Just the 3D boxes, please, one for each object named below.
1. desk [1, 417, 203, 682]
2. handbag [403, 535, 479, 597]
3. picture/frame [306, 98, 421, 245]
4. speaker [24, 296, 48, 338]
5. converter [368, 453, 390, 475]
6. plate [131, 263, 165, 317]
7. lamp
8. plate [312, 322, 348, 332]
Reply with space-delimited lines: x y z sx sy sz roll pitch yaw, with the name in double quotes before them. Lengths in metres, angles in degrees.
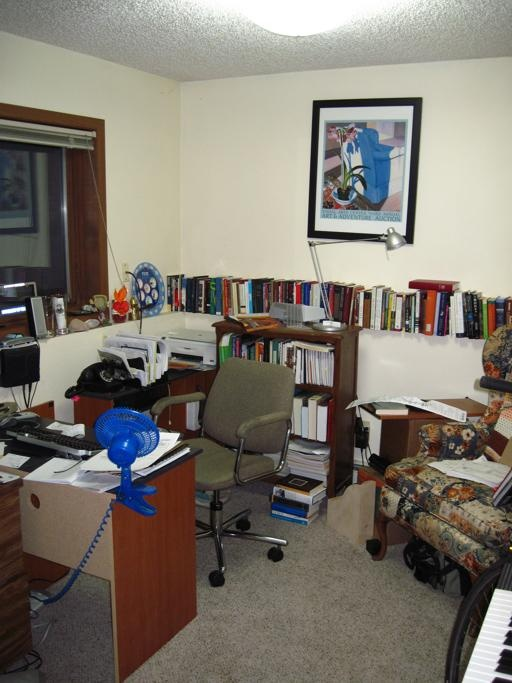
"desk" -0.521 0.734 1.867 0.457 0.704 0.535 4 6 17
"handbag" 0.790 0.985 2.344 0.233 0.223 0.172 -1 8 21
"picture/frame" 0.725 -1.125 3.434 1.003 1.187 0.048 6 13 29
"speaker" -1.173 -0.122 2.847 0.073 0.235 0.167 3 6 8
"converter" 0.741 0.731 3.198 0.096 0.044 0.123 21 11 -27
"plate" -0.793 -0.382 3.917 0.066 0.330 0.329 2 16 28
"lamp" 0.599 -0.403 3.294 0.578 0.558 0.906 3 6 5
"plate" 0.444 -0.092 3.205 0.203 0.067 0.183 3 6 5
